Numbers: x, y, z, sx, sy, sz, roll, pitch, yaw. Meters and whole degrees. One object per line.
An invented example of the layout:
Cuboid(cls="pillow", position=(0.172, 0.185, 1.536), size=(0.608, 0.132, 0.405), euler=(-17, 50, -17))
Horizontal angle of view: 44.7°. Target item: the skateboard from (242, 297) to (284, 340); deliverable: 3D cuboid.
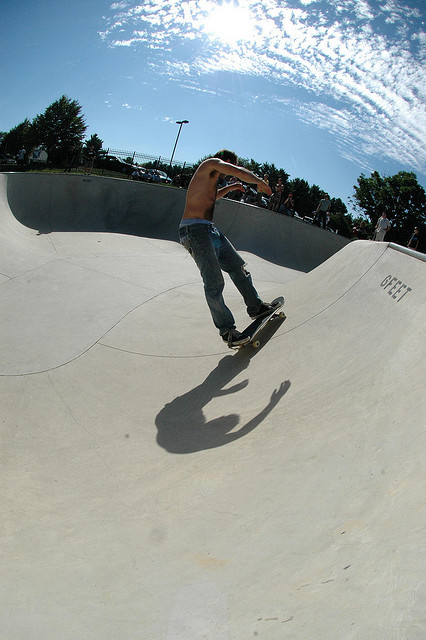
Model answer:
Cuboid(cls="skateboard", position=(0.455, 0.006, 4.354), size=(0.094, 0.165, 0.667), euler=(59, 41, -12))
